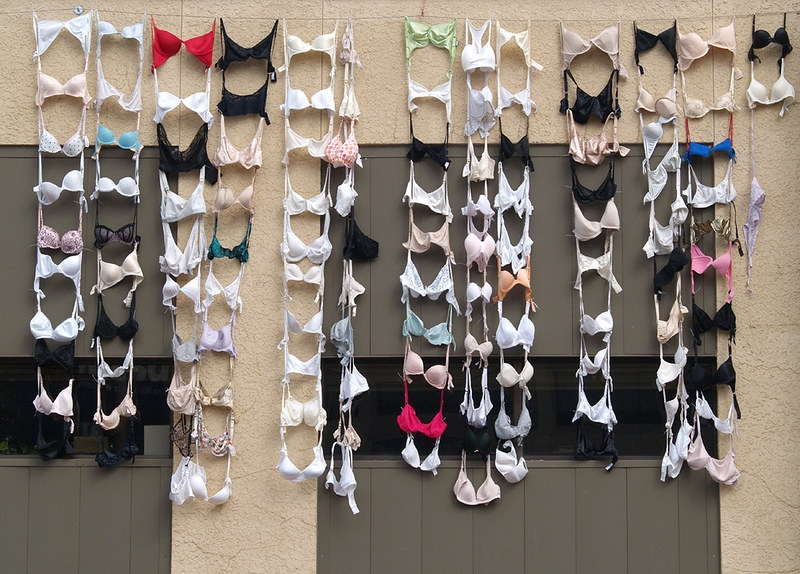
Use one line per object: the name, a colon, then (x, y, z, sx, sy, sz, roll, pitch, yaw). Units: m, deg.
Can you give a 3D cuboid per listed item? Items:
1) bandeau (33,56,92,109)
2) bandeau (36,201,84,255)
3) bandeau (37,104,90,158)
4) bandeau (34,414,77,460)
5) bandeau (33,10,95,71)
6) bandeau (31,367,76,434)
bandeau: (-3.767, -2.301, 17.963, 0.484, 0.531, 0.076, 0, -9, -6)
bandeau: (-3.783, -0.700, 17.954, 0.484, 0.640, 0.062, 2, -9, -5)
bandeau: (-3.740, -1.802, 17.979, 0.492, 0.609, 0.063, 0, -6, -3)
bandeau: (-3.825, 1.493, 17.868, 0.398, 0.638, 0.314, 5, 13, -4)
bandeau: (-3.750, -2.767, 17.974, 0.578, 0.609, 0.063, 0, 17, -1)
bandeau: (-3.838, 1.163, 17.918, 0.431, 0.729, 0.289, -1, -1, -7)
